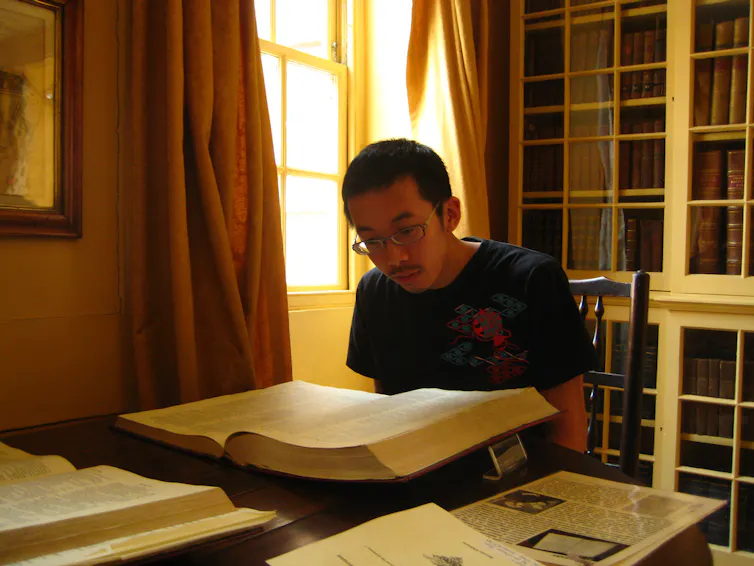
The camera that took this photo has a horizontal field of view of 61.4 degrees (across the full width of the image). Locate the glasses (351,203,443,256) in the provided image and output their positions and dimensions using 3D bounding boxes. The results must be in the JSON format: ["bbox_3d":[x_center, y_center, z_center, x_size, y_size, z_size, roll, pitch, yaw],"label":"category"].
[{"bbox_3d":[0.035,-0.091,1.296,0.127,0.038,0.130,-19,21,46],"label":"glasses"}]
